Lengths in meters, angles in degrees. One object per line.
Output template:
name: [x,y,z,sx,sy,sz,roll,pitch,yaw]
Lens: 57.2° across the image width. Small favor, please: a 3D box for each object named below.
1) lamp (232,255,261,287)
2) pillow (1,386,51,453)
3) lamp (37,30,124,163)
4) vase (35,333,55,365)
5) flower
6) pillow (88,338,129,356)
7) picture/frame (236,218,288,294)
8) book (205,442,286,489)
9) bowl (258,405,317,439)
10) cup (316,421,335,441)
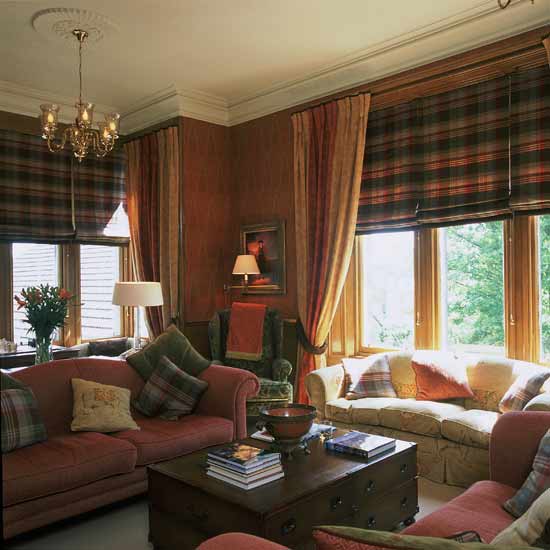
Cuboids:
lamp: [-0.253,-0.049,5.407,0.298,0.291,0.299,-1,-6,15]
pillow: [-1.569,0.869,3.045,0.187,0.318,0.283,-1,1,27]
lamp: [-1.577,-1.451,4.061,0.667,0.986,0.590,-2,-4,7]
vase: [-1.807,0.573,3.929,0.125,0.212,0.109,-2,1,-25]
flower: [-1.824,0.378,4.000,0.341,0.592,0.285,-2,1,-26]
pillow: [-1.930,0.830,5.784,0.302,0.082,0.280,1,22,-9]
picture/frame: [-0.122,-0.193,5.530,0.920,1.136,0.096,0,1,45]
book: [-0.110,0.860,2.373,0.219,0.072,0.177,3,5,37]
bowl: [0.059,0.795,2.733,0.286,0.137,0.270,-1,2,0]
cup: [0.306,0.957,3.099,0.170,0.066,0.229,0,0,4]
